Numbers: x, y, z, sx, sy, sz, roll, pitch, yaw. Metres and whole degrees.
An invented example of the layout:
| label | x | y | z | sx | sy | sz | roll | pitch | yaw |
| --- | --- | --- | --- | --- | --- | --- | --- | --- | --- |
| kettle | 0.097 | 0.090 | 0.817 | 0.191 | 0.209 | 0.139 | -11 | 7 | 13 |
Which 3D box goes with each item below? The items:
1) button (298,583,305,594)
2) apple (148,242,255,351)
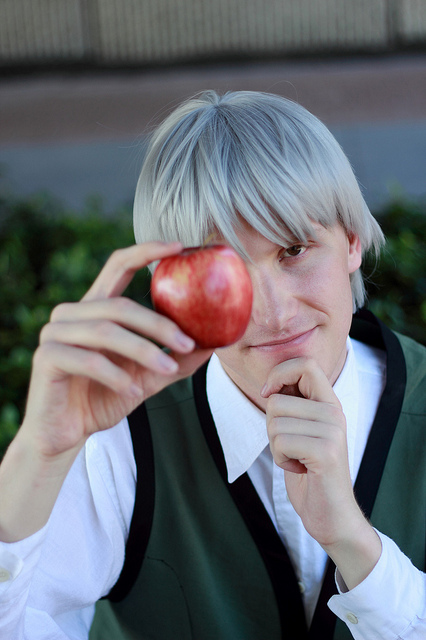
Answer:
| label | x | y | z | sx | sy | sz | roll | pitch | yaw |
| --- | --- | --- | --- | --- | --- | --- | --- | --- | --- |
| button | 0.257 | 0.771 | 1.684 | 0.006 | 0.027 | 0.027 | -16 | 8 | -26 |
| apple | -0.024 | -0.050 | 1.176 | 0.199 | 0.200 | 0.202 | -5 | 3 | 13 |
